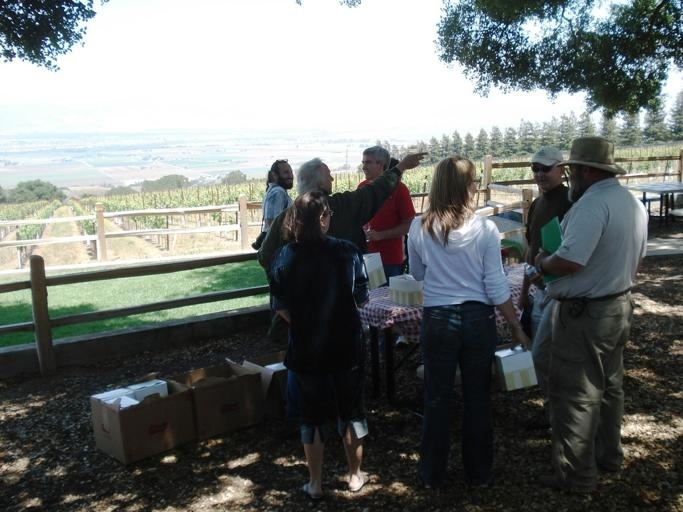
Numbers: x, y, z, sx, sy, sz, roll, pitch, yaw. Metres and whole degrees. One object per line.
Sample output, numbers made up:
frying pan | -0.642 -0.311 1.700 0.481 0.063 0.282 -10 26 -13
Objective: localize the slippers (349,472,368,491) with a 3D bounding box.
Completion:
slippers | 0.122 1.659 3.484 0.083 0.073 0.173 2 12 22

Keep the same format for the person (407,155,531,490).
person | 0.837 0.514 3.291 0.707 2.356 0.358 -1 12 6

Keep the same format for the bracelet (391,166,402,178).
bracelet | 0.490 -0.757 4.228 0.090 0.081 0.103 -8 27 -31

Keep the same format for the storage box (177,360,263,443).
storage box | -1.180 1.275 4.446 0.621 0.419 0.626 -4 5 -36

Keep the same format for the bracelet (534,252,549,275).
bracelet | 1.437 0.055 3.340 0.047 0.124 0.137 2 -15 24

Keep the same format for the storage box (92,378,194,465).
storage box | -1.717 1.407 4.094 0.653 0.574 0.653 1 5 41

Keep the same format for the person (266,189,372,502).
person | -0.144 0.664 3.294 0.672 2.189 0.299 -2 12 3

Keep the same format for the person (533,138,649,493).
person | 1.770 0.394 3.374 0.662 2.427 0.519 -8 13 -24

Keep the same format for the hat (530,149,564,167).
hat | 1.803 -0.832 4.079 0.187 0.151 0.270 4 4 42

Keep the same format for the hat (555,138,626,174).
hat | 1.771 -0.698 3.307 0.357 0.271 0.399 3 13 25

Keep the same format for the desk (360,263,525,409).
desk | 1.072 0.850 4.445 1.494 0.794 1.062 -11 -7 -3
